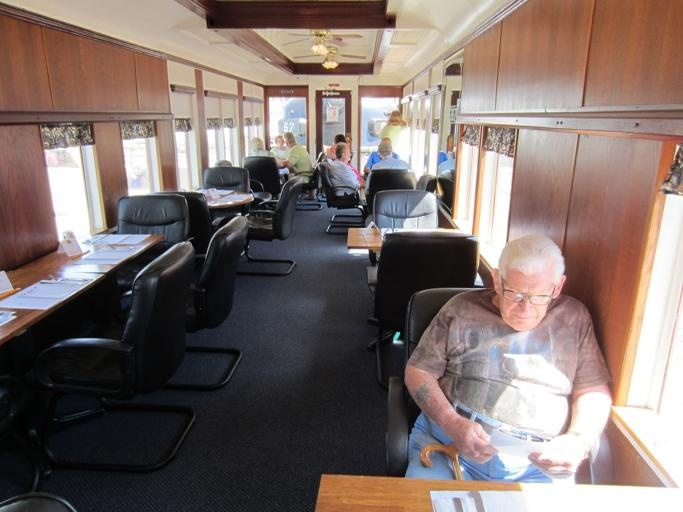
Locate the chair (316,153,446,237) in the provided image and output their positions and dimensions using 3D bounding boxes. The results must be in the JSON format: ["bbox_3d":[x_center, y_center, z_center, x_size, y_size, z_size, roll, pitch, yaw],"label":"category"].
[{"bbox_3d":[0.307,-0.965,7.700,1.081,1.129,1.710,1,28,-4],"label":"chair"}]

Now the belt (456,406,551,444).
[{"bbox_3d":[0.721,0.736,2.080,0.333,0.062,0.061,19,5,7],"label":"belt"}]

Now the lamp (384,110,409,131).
[{"bbox_3d":[1.104,-2.787,9.814,0.345,0.365,0.389,-3,17,-9],"label":"lamp"}]

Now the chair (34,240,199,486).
[{"bbox_3d":[-1.335,0.582,2.876,0.877,1.281,0.521,0,16,1],"label":"chair"}]

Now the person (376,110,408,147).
[{"bbox_3d":[1.093,-2.708,9.981,0.396,0.852,0.505,-1,58,-2],"label":"person"}]

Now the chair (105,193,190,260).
[{"bbox_3d":[-1.818,-0.307,4.713,0.590,0.685,0.584,1,8,6],"label":"chair"}]

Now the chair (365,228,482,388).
[{"bbox_3d":[0.503,0.197,3.227,0.641,0.951,0.734,1,14,3],"label":"chair"}]

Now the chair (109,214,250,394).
[{"bbox_3d":[-1.016,0.265,4.021,1.242,1.542,1.110,4,11,10],"label":"chair"}]

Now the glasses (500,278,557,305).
[{"bbox_3d":[0.808,0.161,2.097,0.212,0.098,0.055,4,17,14],"label":"glasses"}]
